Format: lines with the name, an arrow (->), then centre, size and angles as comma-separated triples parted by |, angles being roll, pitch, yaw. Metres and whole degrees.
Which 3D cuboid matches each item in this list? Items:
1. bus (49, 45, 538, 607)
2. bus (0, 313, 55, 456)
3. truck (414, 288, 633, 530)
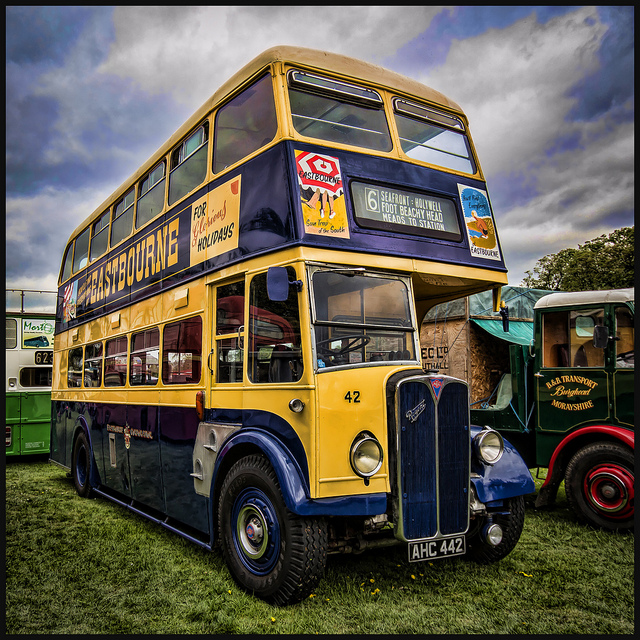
bus -> -0.278, 0.413, 5.137 | 1.720, 3.580, 4.601 | 2, -4, -29
bus -> -7.680, 1.628, 13.375 | 1.092, 3.658, 1.283 | 3, -7, -32
truck -> 3.379, 1.130, 9.355 | 2.804, 3.797, 4.761 | 3, -6, -40
